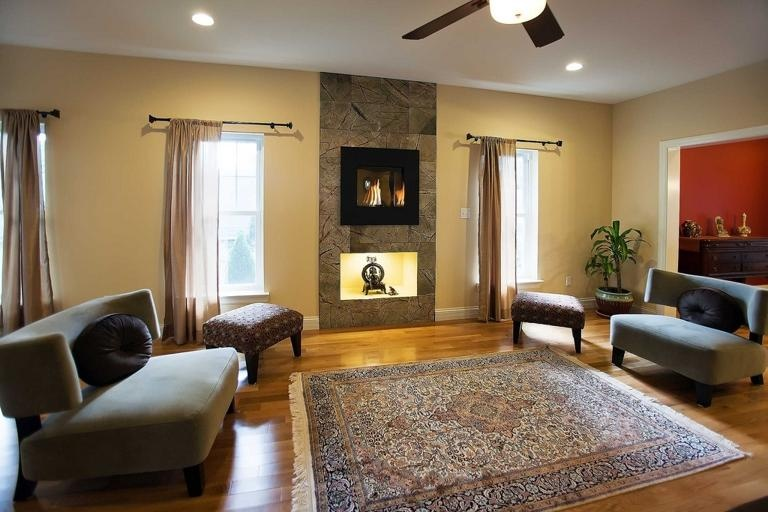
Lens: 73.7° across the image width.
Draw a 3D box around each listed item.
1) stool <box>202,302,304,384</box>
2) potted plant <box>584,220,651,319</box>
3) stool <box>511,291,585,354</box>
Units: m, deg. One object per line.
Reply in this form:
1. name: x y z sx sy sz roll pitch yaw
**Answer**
1. stool: -1.349 0.852 5.388 0.836 0.553 0.850 0 11 25
2. potted plant: 3.135 0.226 6.964 0.701 1.140 0.700 4 2 5
3. stool: 1.955 0.762 6.098 0.824 0.562 0.854 6 6 24
